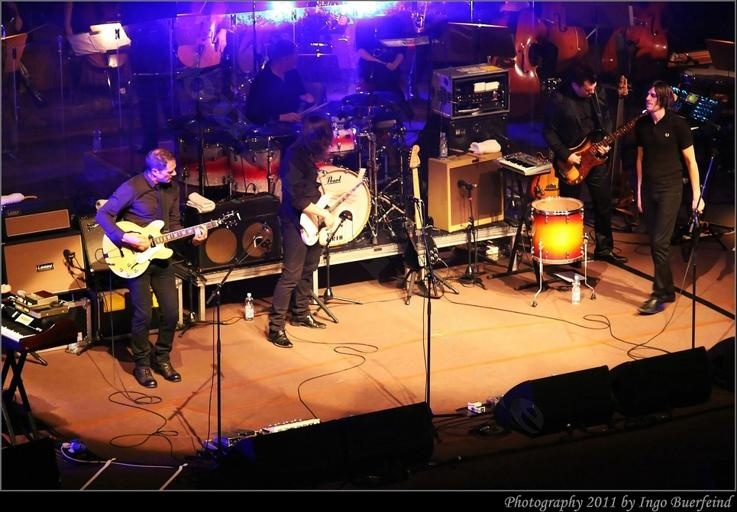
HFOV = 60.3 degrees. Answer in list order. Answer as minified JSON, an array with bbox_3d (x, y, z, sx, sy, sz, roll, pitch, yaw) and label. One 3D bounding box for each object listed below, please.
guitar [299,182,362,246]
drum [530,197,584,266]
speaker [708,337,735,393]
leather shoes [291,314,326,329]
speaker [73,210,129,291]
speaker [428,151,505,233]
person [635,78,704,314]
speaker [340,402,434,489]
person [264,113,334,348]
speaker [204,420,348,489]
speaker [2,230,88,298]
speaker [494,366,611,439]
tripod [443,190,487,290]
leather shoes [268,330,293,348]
[{"bbox_3d":[-0.450,-0.517,7.253,0.128,0.314,0.806,18,52,38],"label":"guitar"},{"bbox_3d":[2.190,-0.334,7.741,0.729,0.672,0.718,-2,18,3],"label":"drum"},{"bbox_3d":[3.286,0.966,5.888,0.186,0.512,0.244,-14,16,-34],"label":"speaker"},{"bbox_3d":[-0.682,0.745,7.206,0.428,0.173,0.151,1,7,5],"label":"leather shoes"},{"bbox_3d":[-2.919,-0.032,6.850,0.722,0.686,0.186,-6,3,-22],"label":"speaker"},{"bbox_3d":[1.286,-0.846,8.468,0.928,0.850,0.487,-9,14,-30],"label":"speaker"},{"bbox_3d":[3.354,-0.652,7.188,0.651,2.573,0.662,1,15,22],"label":"person"},{"bbox_3d":[0.160,1.512,4.989,0.559,0.360,0.293,-13,20,-15],"label":"speaker"},{"bbox_3d":[-0.755,-0.254,6.836,0.880,2.399,0.471,-7,14,-10],"label":"person"},{"bbox_3d":[-0.681,1.536,4.813,0.648,0.382,0.618,-4,13,-32],"label":"speaker"},{"bbox_3d":[-3.447,0.071,7.006,1.034,0.840,0.565,-8,6,-30],"label":"speaker"},{"bbox_3d":[1.585,1.234,5.458,0.901,0.421,0.487,-10,-12,5],"label":"speaker"},{"bbox_3d":[1.290,-0.338,8.262,0.362,1.321,0.945,-3,13,7],"label":"tripod"},{"bbox_3d":[-0.958,0.890,6.891,0.332,0.157,0.121,12,12,29],"label":"leather shoes"}]
